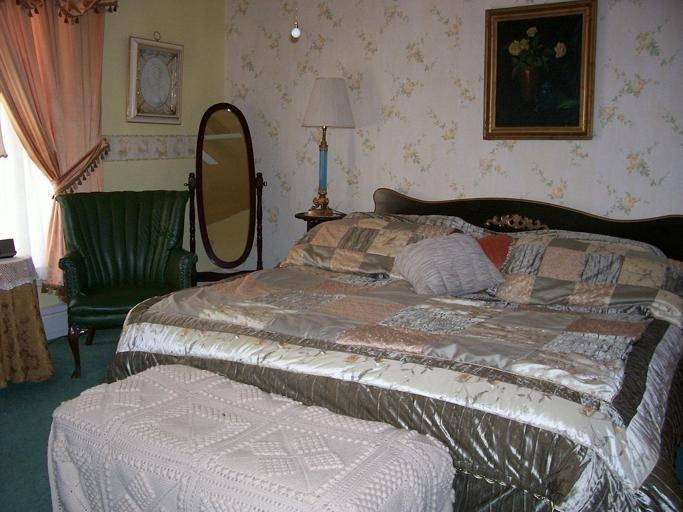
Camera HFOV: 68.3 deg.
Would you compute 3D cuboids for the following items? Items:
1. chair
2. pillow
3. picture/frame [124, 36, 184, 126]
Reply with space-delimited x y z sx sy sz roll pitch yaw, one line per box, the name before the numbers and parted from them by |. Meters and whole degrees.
chair | -1.468 0.121 3.537 0.889 1.109 0.804 -3 14 -17
pillow | 0.579 0.059 2.740 0.398 0.127 0.368 8 31 16
picture/frame | -1.484 -1.400 4.037 0.040 0.622 0.497 14 18 39
